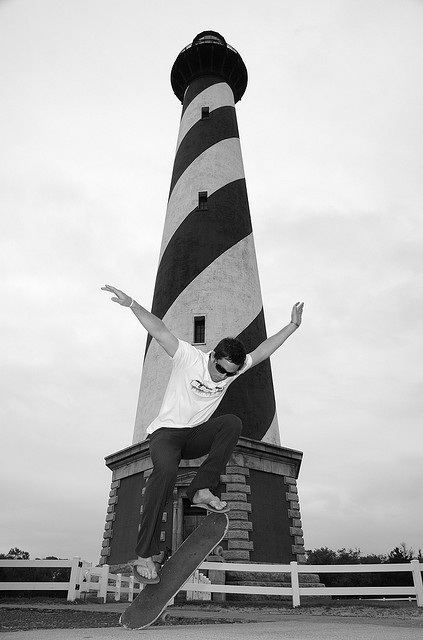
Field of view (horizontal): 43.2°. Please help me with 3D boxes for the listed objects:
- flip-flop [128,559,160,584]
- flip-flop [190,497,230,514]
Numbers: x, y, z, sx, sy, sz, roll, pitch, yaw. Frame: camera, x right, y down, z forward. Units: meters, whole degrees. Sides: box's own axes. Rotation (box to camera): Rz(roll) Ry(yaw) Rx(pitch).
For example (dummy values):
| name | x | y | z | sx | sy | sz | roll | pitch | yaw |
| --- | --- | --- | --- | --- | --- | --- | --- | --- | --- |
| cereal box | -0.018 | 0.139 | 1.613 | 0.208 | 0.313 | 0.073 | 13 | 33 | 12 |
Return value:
| name | x | y | z | sx | sy | sz | roll | pitch | yaw |
| --- | --- | --- | --- | --- | --- | --- | --- | --- | --- |
| flip-flop | -0.470 | 1.817 | 3.859 | 0.211 | 0.159 | 0.218 | 4 | -22 | -5 |
| flip-flop | -0.011 | 1.418 | 4.151 | 0.332 | 0.096 | 0.133 | -15 | -36 | 40 |
